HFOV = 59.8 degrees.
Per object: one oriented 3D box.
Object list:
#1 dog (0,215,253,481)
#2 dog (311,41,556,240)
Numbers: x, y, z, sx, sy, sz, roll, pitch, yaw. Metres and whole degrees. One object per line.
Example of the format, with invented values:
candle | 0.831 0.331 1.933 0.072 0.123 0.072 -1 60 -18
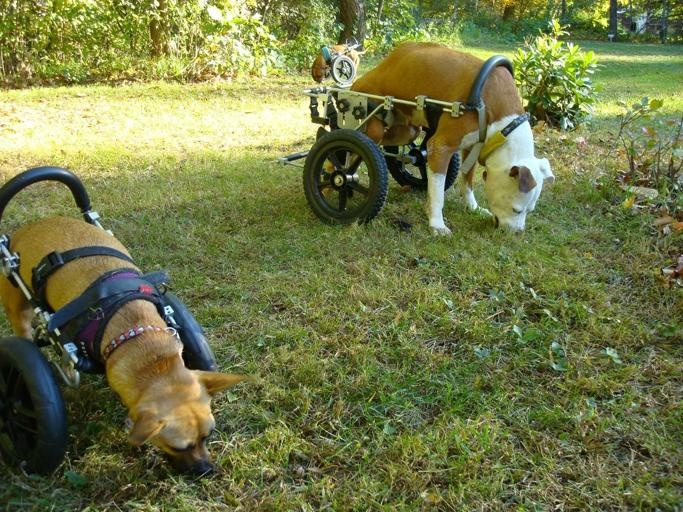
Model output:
dog | -1.304 0.600 3.554 1.464 0.798 0.461 50 33 9
dog | 0.844 -1.249 5.965 2.470 1.748 1.306 15 25 31
